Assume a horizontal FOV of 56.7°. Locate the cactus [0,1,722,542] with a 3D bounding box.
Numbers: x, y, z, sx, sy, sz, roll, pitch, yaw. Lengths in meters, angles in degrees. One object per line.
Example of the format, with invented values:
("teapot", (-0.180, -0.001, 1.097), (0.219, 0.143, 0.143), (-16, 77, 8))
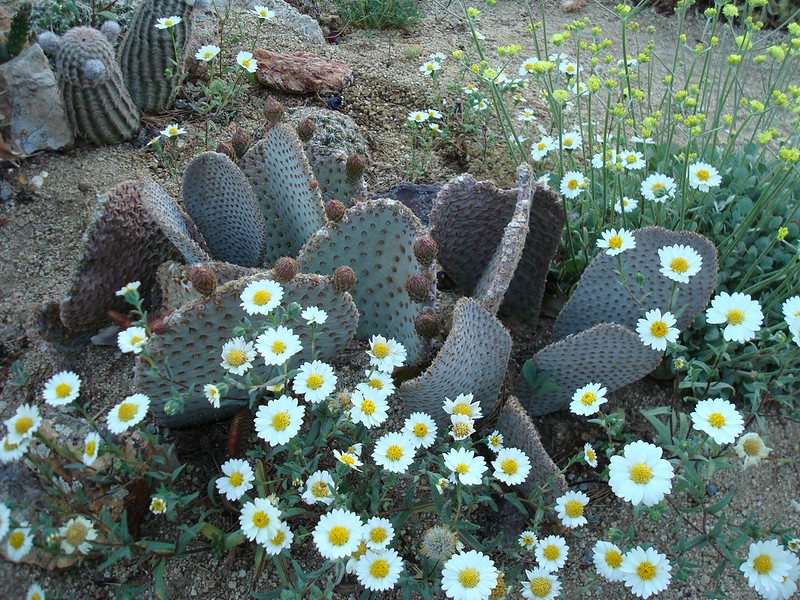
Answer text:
("cactus", (-0.076, 0.147, 3.186), (2.376, 1.072, 1.633), (17, 35, -6))
